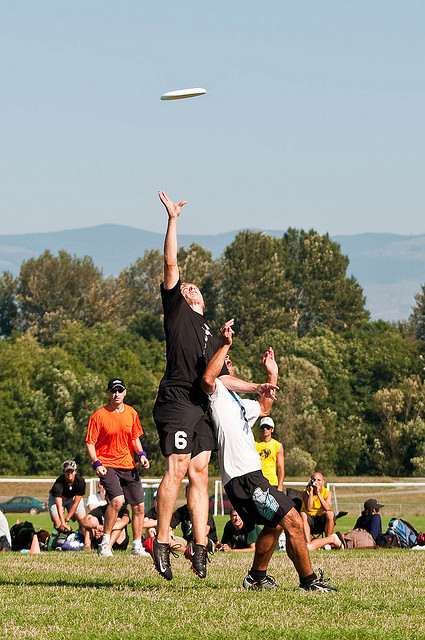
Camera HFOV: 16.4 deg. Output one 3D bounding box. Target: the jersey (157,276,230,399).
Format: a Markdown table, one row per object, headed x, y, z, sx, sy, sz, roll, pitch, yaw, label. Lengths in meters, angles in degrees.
| x | y | z | sx | sy | sz | roll | pitch | yaw | label |
| --- | --- | --- | --- | --- | --- | --- | --- | --- | --- |
| -0.222 | 0.179 | 13.495 | 0.548 | 1.099 | 0.577 | -2 | 0 | 4 | jersey |

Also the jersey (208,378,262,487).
| x | y | z | sx | sy | sz | roll | pitch | yaw | label |
| --- | --- | --- | --- | --- | --- | --- | --- | --- | --- |
| 0.183 | 1.003 | 13.164 | 0.455 | 0.962 | 0.644 | -2 | 0 | 1 | jersey |

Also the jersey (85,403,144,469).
| x | y | z | sx | sy | sz | roll | pitch | yaw | label |
| --- | --- | --- | --- | --- | --- | --- | --- | --- | --- |
| -1.128 | 1.370 | 16.959 | 0.612 | 0.754 | 0.568 | -2 | 0 | -4 | jersey |

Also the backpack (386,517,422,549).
| x | y | z | sx | sy | sz | roll | pitch | yaw | label |
| --- | --- | --- | --- | --- | --- | --- | --- | --- | --- |
| 2.504 | 2.820 | 19.423 | 0.412 | 0.382 | 0.852 | -2 | 0 | -16 | backpack |

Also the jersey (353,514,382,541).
| x | y | z | sx | sy | sz | roll | pitch | yaw | label |
| --- | --- | --- | --- | --- | --- | --- | --- | --- | --- |
| 2.023 | 2.752 | 19.605 | 0.394 | 0.487 | 0.236 | -3 | -23 | 28 | jersey |

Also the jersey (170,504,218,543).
| x | y | z | sx | sy | sz | roll | pitch | yaw | label |
| --- | --- | --- | --- | --- | --- | --- | --- | --- | --- |
| -0.216 | 2.483 | 17.854 | 0.661 | 0.456 | 0.632 | -4 | -20 | 9 | jersey |

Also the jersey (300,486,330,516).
| x | y | z | sx | sy | sz | roll | pitch | yaw | label |
| --- | --- | --- | --- | --- | --- | --- | --- | --- | --- |
| 1.347 | 2.422 | 19.331 | 0.372 | 0.525 | 0.317 | 1 | 3 | 12 | jersey |

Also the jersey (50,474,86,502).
| x | y | z | sx | sy | sz | roll | pitch | yaw | label |
| --- | --- | --- | --- | --- | --- | --- | --- | --- | --- |
| -1.855 | 2.207 | 19.212 | 0.342 | 0.357 | 0.582 | -2 | 0 | 13 | jersey |

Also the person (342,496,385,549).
| x | y | z | sx | sy | sz | roll | pitch | yaw | label |
| --- | --- | --- | --- | --- | --- | --- | --- | --- | --- |
| 1.941 | 2.698 | 19.320 | 0.479 | 0.632 | 1.645 | -2 | 0 | 7 | person |
